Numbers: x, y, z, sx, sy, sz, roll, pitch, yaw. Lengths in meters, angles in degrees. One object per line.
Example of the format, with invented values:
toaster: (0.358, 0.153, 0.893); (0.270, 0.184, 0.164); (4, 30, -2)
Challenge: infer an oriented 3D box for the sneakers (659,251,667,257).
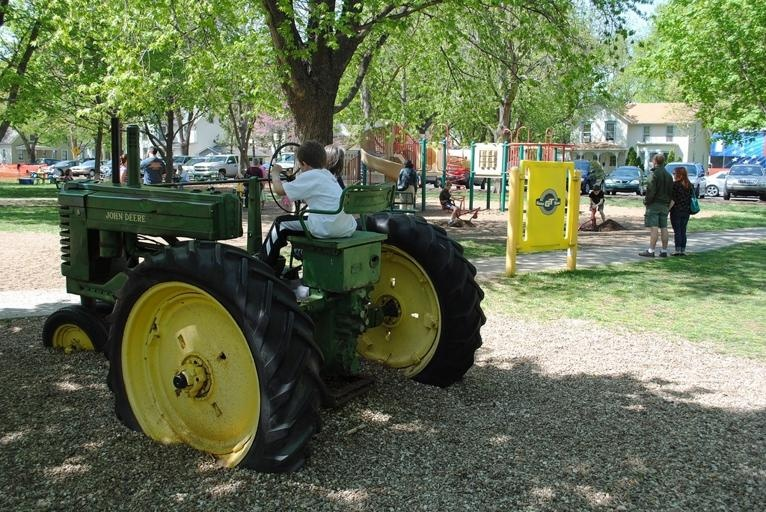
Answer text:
sneakers: (5.626, -0.049, 12.455); (0.092, 0.112, 0.259); (-3, -2, 20)

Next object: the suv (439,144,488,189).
suv: (3.942, -4.468, 30.523); (2.196, 2.211, 3.739); (1, 6, -3)

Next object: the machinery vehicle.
machinery vehicle: (-1.687, 0.094, 6.600); (4.769, 2.942, 3.186); (9, 13, 32)

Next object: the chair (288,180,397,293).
chair: (-0.268, -0.222, 5.560); (0.765, 0.898, 0.766); (0, 0, -6)
